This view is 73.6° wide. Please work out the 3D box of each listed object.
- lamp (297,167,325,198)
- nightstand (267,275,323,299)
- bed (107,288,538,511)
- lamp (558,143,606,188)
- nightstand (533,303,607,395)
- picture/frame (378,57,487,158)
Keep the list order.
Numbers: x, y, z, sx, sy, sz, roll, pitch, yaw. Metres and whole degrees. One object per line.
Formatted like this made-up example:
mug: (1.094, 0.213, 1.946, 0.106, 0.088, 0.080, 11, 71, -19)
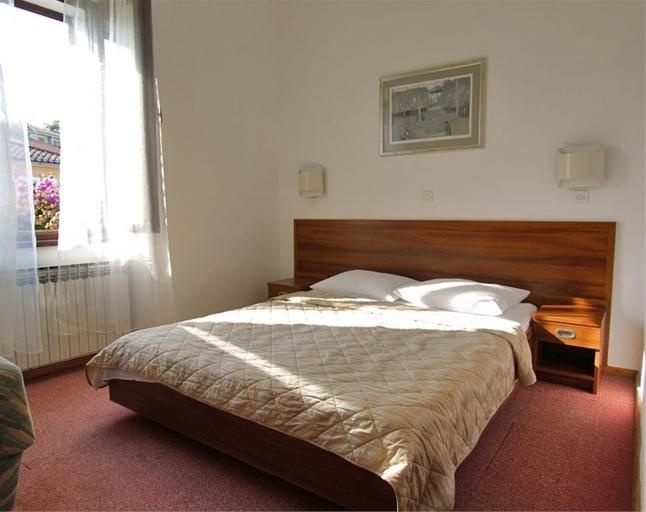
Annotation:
lamp: (-0.112, -0.745, 4.360, 0.352, 0.336, 0.193, 1, 1, 32)
nightstand: (-0.299, 0.293, 4.270, 0.263, 0.347, 0.371, 7, 9, 38)
bed: (0.317, 0.583, 2.346, 1.264, 0.288, 1.264, 3, 5, 37)
lamp: (1.874, -0.649, 3.103, 0.342, 0.312, 0.191, 2, 3, 35)
nightstand: (1.783, 0.629, 3.091, 0.440, 0.531, 0.388, 4, 13, 44)
picture/frame: (0.973, -1.286, 3.692, 1.011, 0.718, 0.044, 3, 8, 33)
